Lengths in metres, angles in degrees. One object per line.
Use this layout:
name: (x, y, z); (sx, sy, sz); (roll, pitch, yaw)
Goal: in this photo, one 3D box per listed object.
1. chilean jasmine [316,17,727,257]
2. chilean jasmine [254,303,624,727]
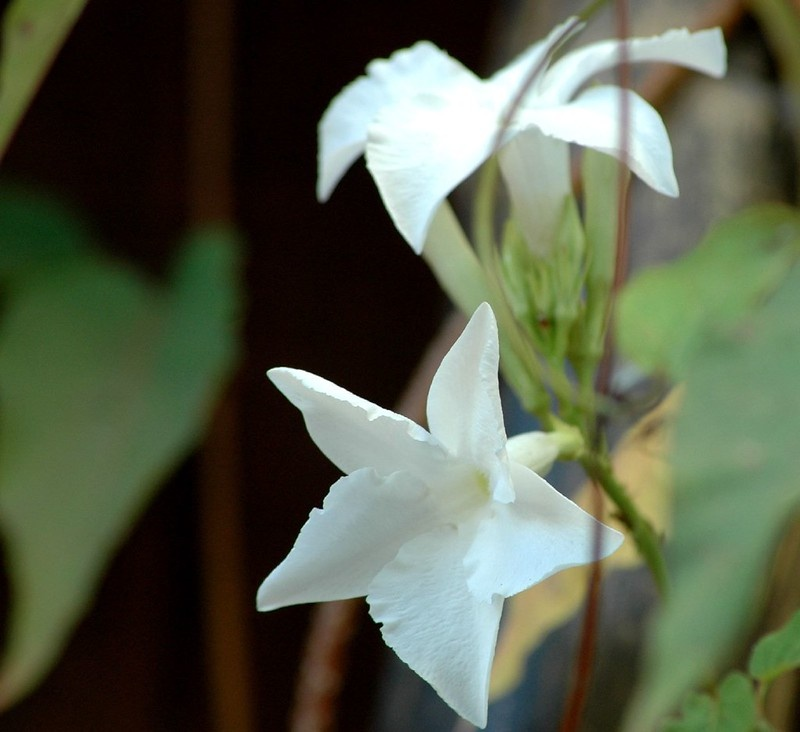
chilean jasmine: (0.039, -0.100, 0.571); (0.205, 0.114, 0.133); (10, 22, 16)
chilean jasmine: (0.012, 0.047, 0.528); (0.156, 0.153, 0.074); (14, 22, 28)
